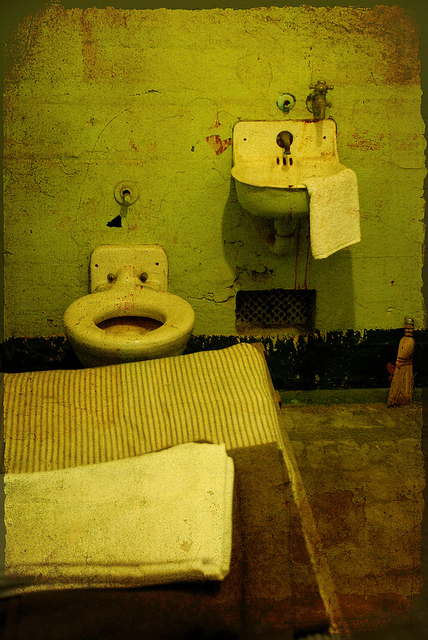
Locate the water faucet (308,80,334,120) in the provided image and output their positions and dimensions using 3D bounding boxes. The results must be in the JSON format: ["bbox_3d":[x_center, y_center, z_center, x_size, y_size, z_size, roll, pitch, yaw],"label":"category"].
[{"bbox_3d":[0.341,-0.698,2.148,0.076,0.132,0.044,-4,34,0],"label":"water faucet"}]

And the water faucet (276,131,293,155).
[{"bbox_3d":[0.234,-0.561,2.155,0.052,0.078,0.027,0,6,1],"label":"water faucet"}]

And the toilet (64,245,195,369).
[{"bbox_3d":[-0.244,-0.026,2.024,0.333,0.261,0.419,0,41,-1],"label":"toilet"}]

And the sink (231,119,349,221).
[{"bbox_3d":[0.233,-0.444,2.106,0.318,0.265,0.385,-1,46,3],"label":"sink"}]
